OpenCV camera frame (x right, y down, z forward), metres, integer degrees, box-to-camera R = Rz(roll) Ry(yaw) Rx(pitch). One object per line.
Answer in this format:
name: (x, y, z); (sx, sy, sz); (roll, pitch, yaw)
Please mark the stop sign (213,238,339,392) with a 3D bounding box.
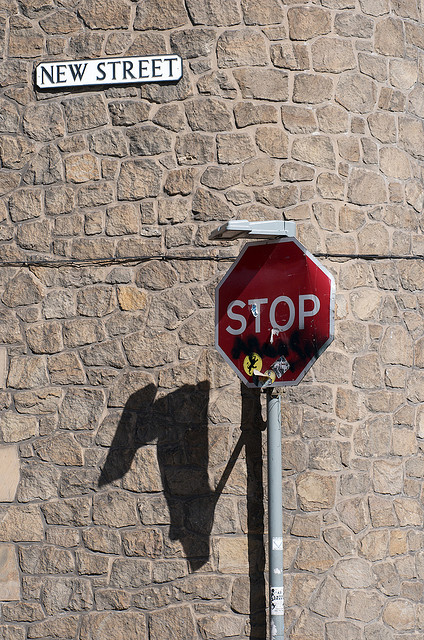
stop sign: (0.380, -0.050, 10.172); (0.751, 0.062, 0.935); (-5, 106, -12)
